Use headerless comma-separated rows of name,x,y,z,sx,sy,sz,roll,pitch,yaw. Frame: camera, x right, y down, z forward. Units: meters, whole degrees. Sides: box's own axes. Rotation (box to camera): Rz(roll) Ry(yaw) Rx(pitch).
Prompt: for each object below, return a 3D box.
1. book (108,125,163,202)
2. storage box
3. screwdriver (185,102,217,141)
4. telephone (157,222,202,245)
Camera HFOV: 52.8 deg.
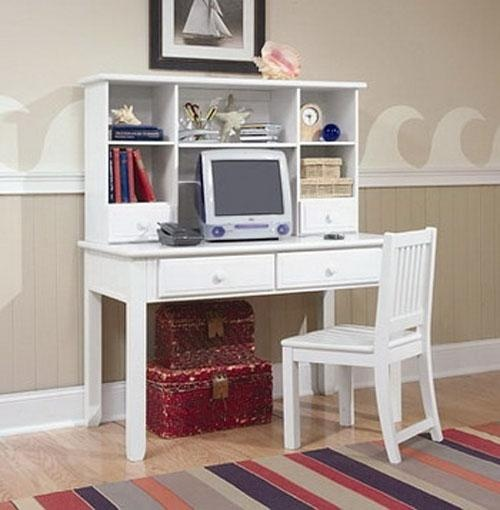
book,-0.474,-0.369,2.093,0.215,0.319,0.196,0,-2,-11
storage box,-0.200,0.426,2.422,0.651,0.663,0.499,0,-3,-33
screwdriver,-0.236,-0.599,2.310,0.102,0.173,0.122,6,15,31
telephone,-0.295,-0.080,1.972,0.121,0.100,0.242,0,-2,-35
